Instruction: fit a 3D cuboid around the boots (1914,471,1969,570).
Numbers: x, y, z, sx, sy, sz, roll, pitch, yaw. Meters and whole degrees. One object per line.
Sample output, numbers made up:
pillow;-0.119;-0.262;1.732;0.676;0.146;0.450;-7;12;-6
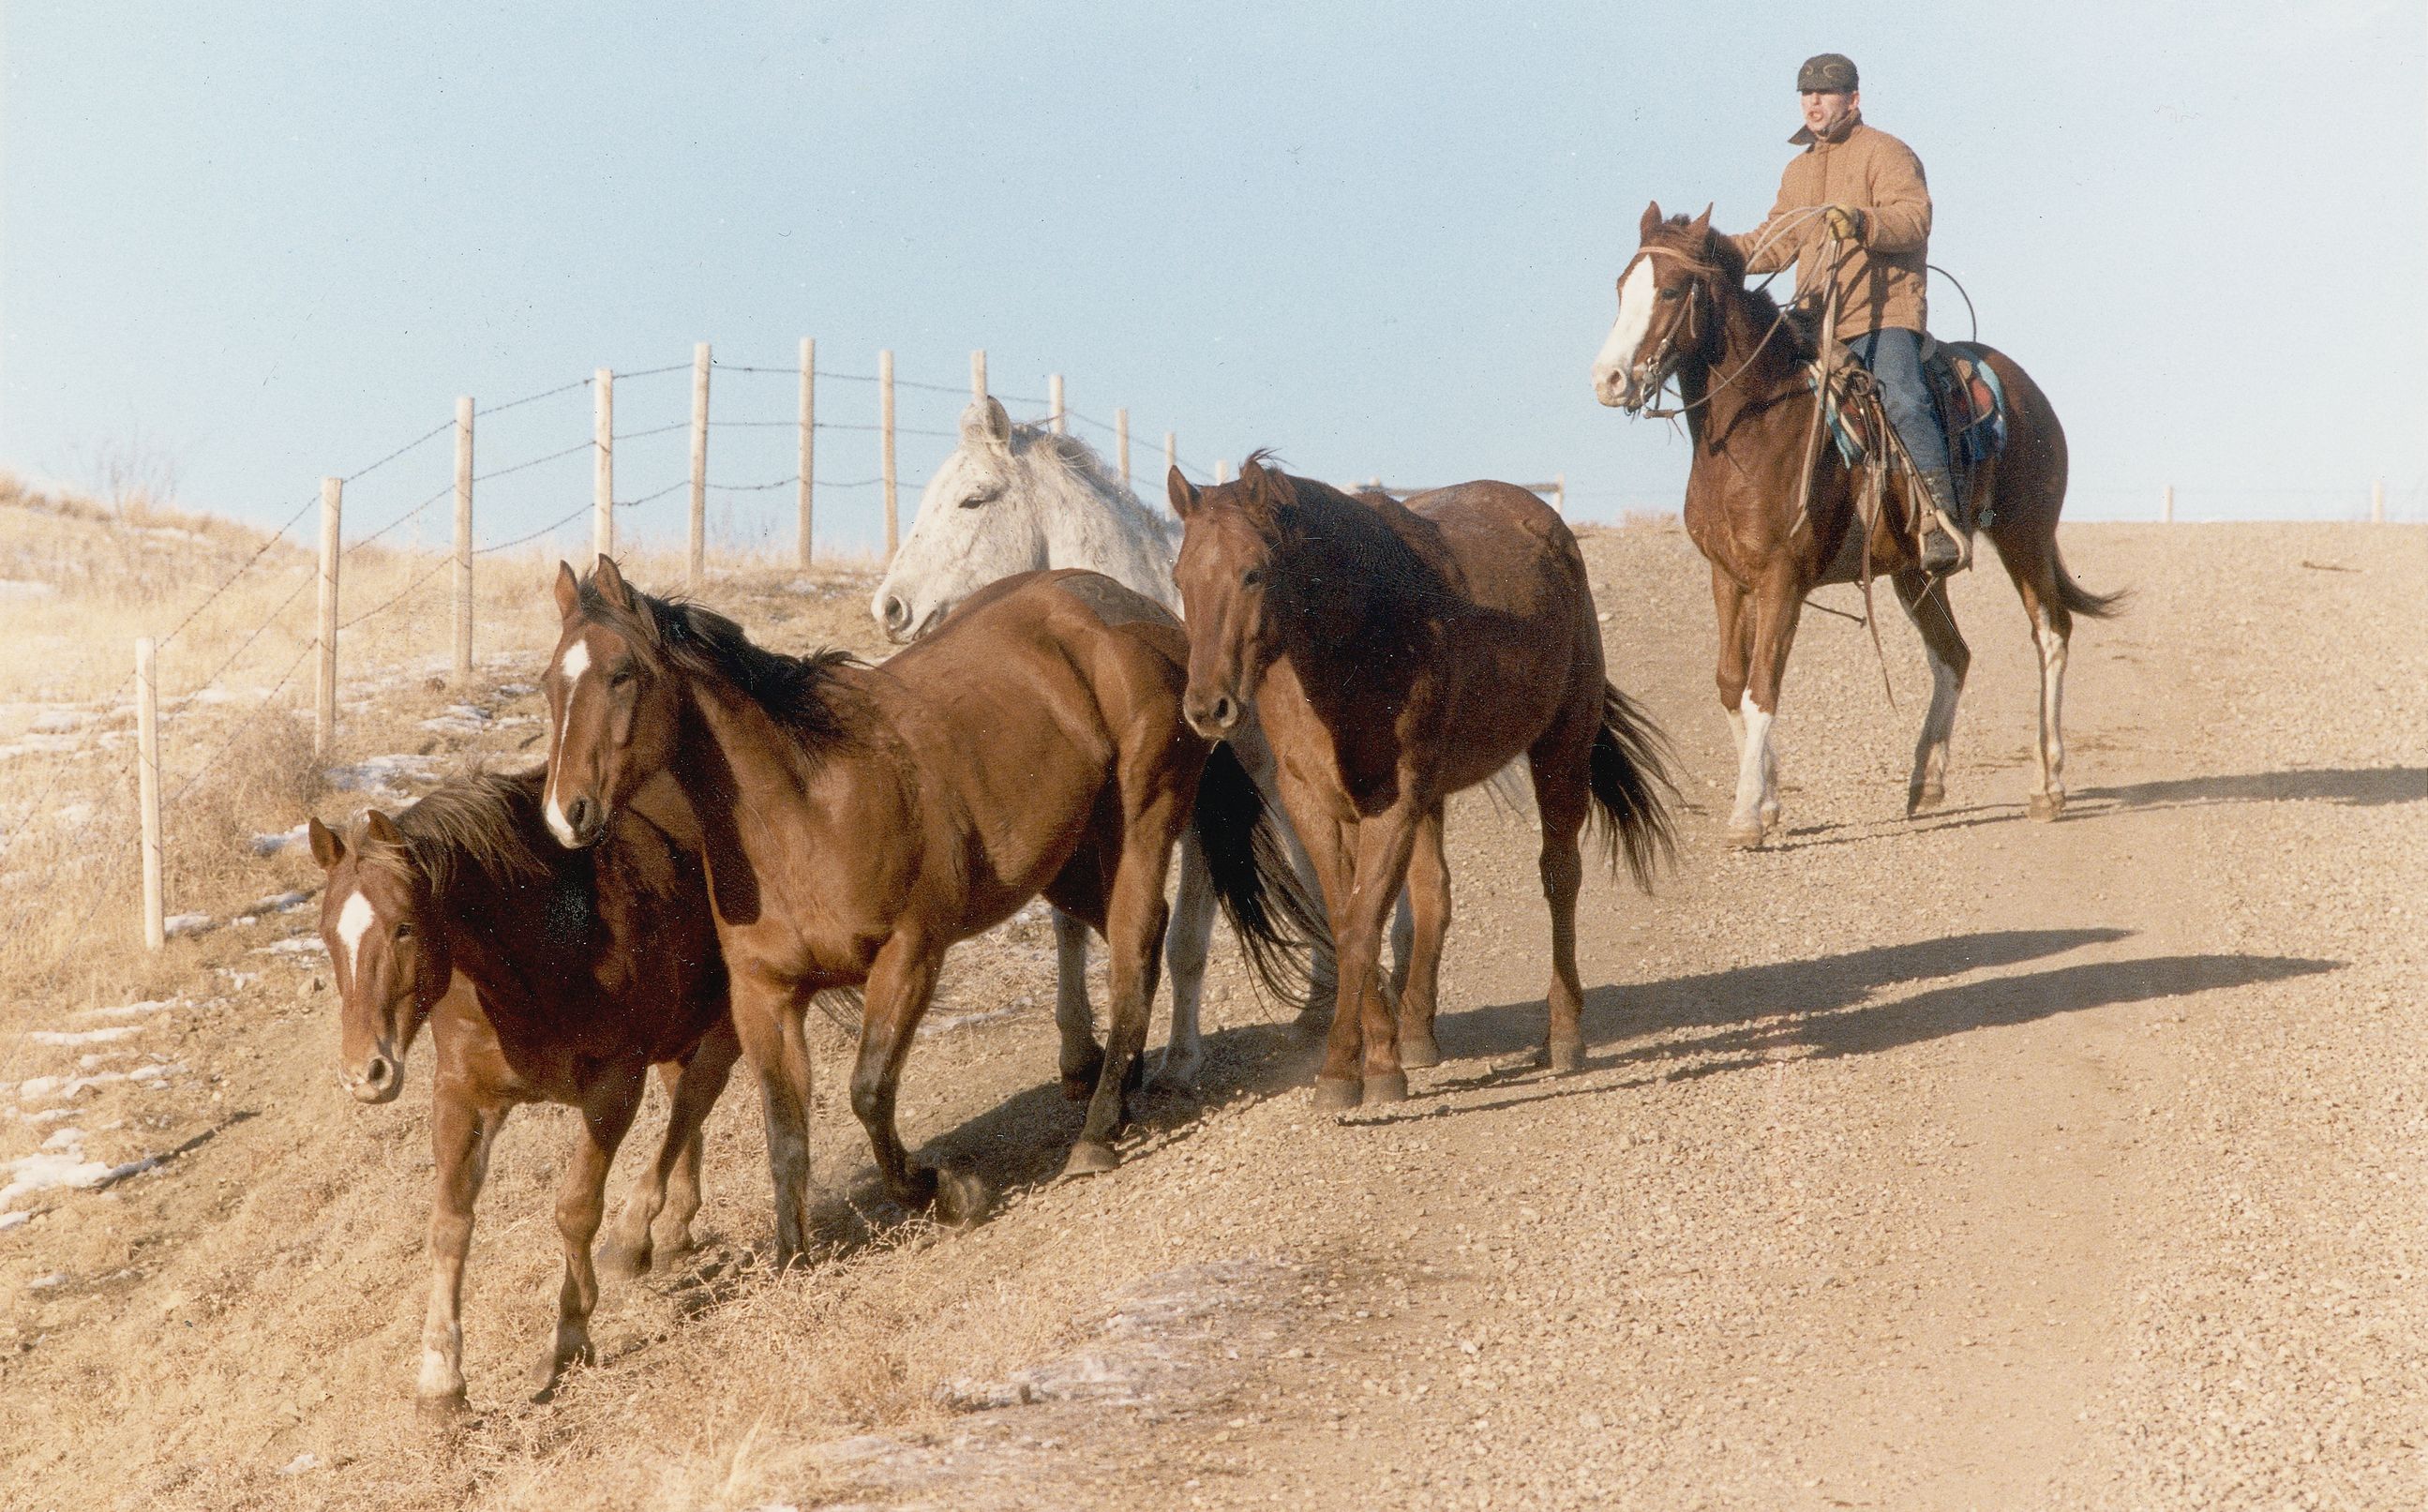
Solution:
boots;5.611;-1.756;16.703;0.243;0.858;0.328;-9;-10;11

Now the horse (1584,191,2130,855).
horse;4.924;-1.809;16.937;4.755;4.877;1.531;-10;10;-40
